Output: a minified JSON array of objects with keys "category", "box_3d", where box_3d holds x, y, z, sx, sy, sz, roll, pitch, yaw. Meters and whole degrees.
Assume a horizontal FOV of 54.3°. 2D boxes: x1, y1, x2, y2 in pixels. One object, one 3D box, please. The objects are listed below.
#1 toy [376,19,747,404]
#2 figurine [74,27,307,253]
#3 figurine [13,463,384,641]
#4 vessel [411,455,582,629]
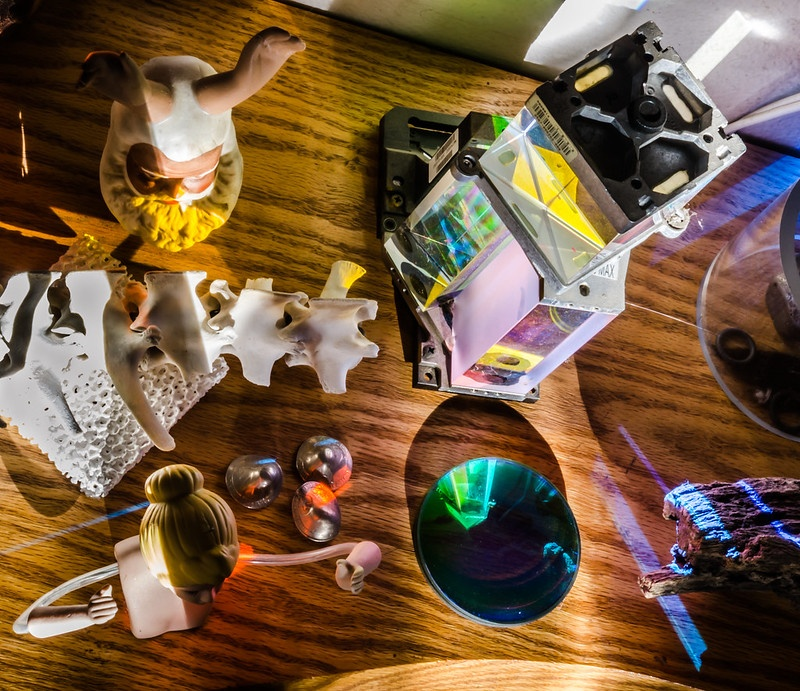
[{"category":"toy","box_3d":[0.286,-0.098,1.226,0.477,0.397,0.358,1,90,-12]},{"category":"figurine","box_3d":[-0.323,-0.276,1.061,0.263,0.350,0.198,-24,62,-29]},{"category":"figurine","box_3d":[-0.259,0.284,1.017,0.469,0.154,0.196,-2,13,-15]},{"category":"vessel","box_3d":[0.137,0.280,1.125,0.226,0.102,0.245,-9,56,-29]}]
